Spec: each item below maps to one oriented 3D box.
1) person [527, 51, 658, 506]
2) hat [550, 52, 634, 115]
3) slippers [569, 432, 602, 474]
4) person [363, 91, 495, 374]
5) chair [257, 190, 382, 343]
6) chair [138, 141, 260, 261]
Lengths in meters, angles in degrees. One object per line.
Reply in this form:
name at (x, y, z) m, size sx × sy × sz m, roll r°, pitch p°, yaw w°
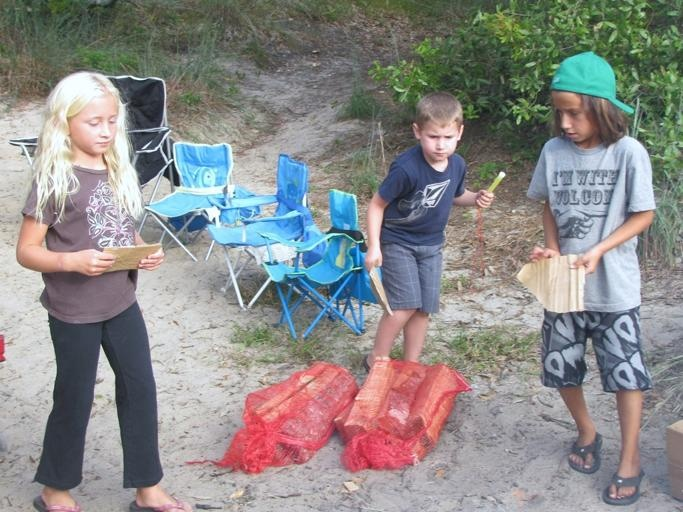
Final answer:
person at (1.254, 0.100, 3.416) m, size 0.452 × 2.172 × 0.800 m, roll -8°, pitch 18°, yaw -24°
hat at (1.263, -0.872, 3.364) m, size 0.493 × 0.210 × 0.272 m, roll 14°, pitch 18°, yaw -2°
slippers at (1.313, 1.043, 3.675) m, size 0.172 × 0.076 × 0.400 m, roll -3°, pitch 8°, yaw 26°
person at (0.473, -0.151, 4.079) m, size 0.667 × 1.603 × 0.340 m, roll -1°, pitch 16°, yaw -1°
chair at (-0.164, 0.055, 4.783) m, size 0.822 × 0.868 × 0.669 m, roll -4°, pitch 11°, yaw -15°
chair at (-1.171, -0.500, 6.397) m, size 0.727 × 0.965 × 0.880 m, roll -6°, pitch 30°, yaw -33°
